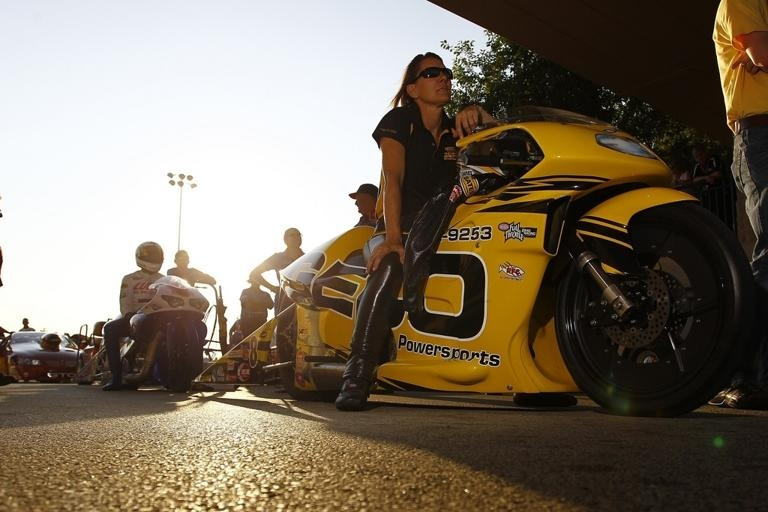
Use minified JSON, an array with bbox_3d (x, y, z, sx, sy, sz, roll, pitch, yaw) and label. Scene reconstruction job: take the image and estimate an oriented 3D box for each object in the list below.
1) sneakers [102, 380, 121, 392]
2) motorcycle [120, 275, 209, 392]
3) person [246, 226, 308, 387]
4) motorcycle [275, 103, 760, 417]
[{"bbox_3d":[-3.205,1.529,6.958,0.180,0.115,0.105,9,-19,-9],"label":"sneakers"},{"bbox_3d":[-2.473,0.879,6.818,1.221,1.303,0.523,-6,-10,37],"label":"motorcycle"},{"bbox_3d":[-0.929,0.477,5.565,0.619,1.492,0.388,0,24,-7],"label":"person"},{"bbox_3d":[0.655,0.532,4.328,3.587,1.836,1.356,-25,-29,36],"label":"motorcycle"}]
